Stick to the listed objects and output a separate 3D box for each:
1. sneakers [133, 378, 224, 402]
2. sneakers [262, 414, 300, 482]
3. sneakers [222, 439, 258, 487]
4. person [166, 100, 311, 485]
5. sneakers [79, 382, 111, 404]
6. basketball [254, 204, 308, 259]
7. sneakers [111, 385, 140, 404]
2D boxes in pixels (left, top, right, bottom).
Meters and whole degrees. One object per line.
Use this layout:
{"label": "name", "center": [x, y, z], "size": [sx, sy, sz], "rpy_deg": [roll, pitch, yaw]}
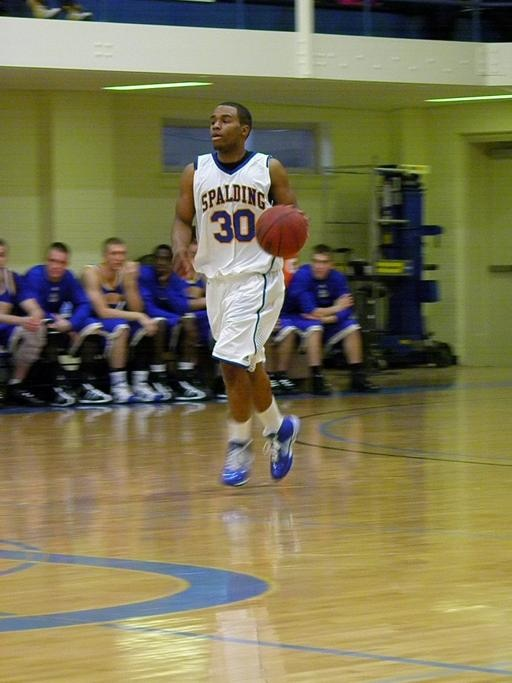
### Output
{"label": "sneakers", "center": [-0.543, 0.333, 6.133], "size": [0.608, 0.200, 0.179], "rpy_deg": [-1, 3, 2]}
{"label": "sneakers", "center": [0.113, 0.406, 3.317], "size": [0.137, 0.258, 0.102], "rpy_deg": [17, -19, -24]}
{"label": "sneakers", "center": [-0.053, 0.439, 3.103], "size": [0.085, 0.080, 0.207], "rpy_deg": [0, 15, 6]}
{"label": "person", "center": [-0.074, -0.167, 3.180], "size": [0.453, 1.419, 0.358], "rpy_deg": [-1, 4, 1]}
{"label": "sneakers", "center": [-1.103, 0.366, 5.854], "size": [0.277, 0.092, 0.102], "rpy_deg": [-4, -2, 40]}
{"label": "basketball", "center": [0.099, -0.391, 3.081], "size": [0.200, 0.180, 0.183], "rpy_deg": [8, 8, 17]}
{"label": "sneakers", "center": [-0.904, 0.358, 5.929], "size": [0.156, 0.136, 0.141], "rpy_deg": [-3, 4, -29]}
